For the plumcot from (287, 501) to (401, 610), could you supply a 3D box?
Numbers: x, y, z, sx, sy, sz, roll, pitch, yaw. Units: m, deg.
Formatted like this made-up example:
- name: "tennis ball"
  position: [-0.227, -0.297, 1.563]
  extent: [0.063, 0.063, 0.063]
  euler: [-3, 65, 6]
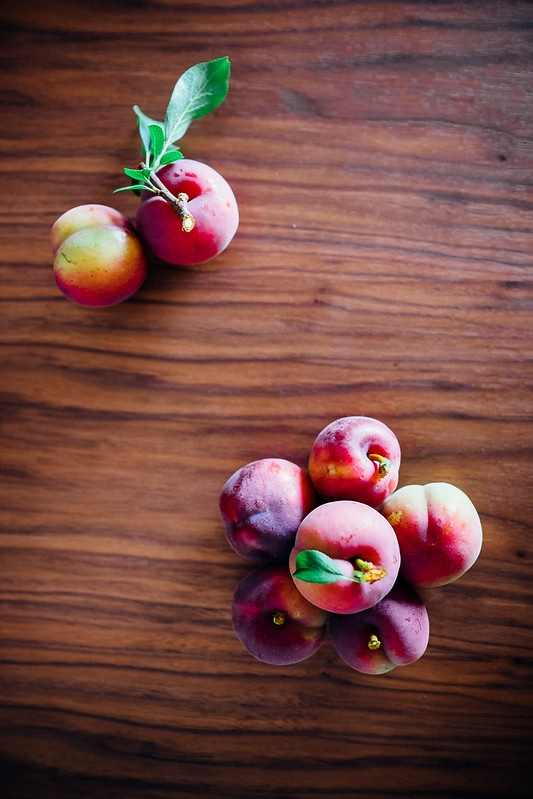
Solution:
- name: "plumcot"
  position: [0.066, 0.131, 0.665]
  extent: [0.088, 0.070, 0.080]
  euler: [11, 42, 3]

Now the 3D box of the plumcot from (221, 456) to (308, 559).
- name: "plumcot"
  position: [0.002, 0.097, 0.711]
  extent: [0.067, 0.072, 0.067]
  euler: [40, 42, -23]

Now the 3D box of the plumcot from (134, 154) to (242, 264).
- name: "plumcot"
  position: [-0.077, -0.179, 0.780]
  extent: [0.096, 0.094, 0.056]
  euler: [4, 44, -5]

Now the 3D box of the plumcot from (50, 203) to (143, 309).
- name: "plumcot"
  position: [-0.155, -0.142, 0.829]
  extent: [0.106, 0.095, 0.093]
  euler: [-2, 81, -1]
